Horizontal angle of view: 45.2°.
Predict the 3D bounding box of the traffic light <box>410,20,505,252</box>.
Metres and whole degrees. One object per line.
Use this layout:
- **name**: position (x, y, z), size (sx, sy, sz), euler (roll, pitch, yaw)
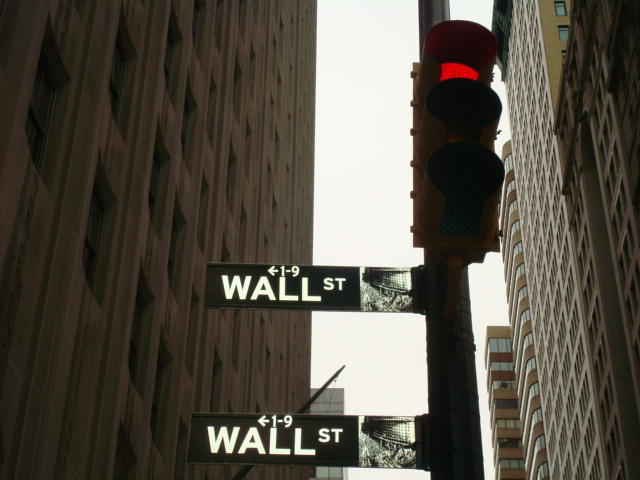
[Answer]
- **traffic light**: position (1.534, -1.196, 8.853), size (0.910, 3.489, 1.111), euler (6, -37, 0)
